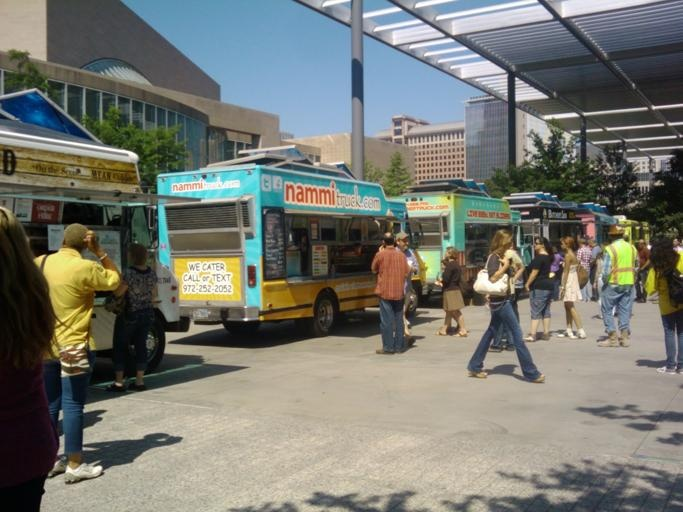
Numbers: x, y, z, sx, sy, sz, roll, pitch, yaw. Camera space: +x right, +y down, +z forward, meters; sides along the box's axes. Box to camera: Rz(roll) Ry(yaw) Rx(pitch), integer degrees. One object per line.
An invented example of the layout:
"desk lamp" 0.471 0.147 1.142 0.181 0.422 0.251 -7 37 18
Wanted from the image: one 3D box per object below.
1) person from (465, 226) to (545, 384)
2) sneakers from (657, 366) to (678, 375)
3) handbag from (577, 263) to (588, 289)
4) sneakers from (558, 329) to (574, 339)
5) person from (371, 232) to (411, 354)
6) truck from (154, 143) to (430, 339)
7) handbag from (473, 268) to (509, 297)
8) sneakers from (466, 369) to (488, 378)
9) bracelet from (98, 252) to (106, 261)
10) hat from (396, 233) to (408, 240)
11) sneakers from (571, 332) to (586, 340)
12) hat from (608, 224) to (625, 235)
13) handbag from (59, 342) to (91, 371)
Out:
"person" 2.377 0.709 9.366 1.037 2.152 1.118 -1 3 0
"sneakers" 4.852 1.698 9.404 0.094 0.090 0.211 -4 9 -29
"handbag" 6.541 0.511 17.103 0.316 0.814 0.751 -7 -3 20
"sneakers" 4.675 1.592 13.171 0.380 0.177 0.173 2 2 32
"person" 0.938 0.664 11.726 0.676 2.135 0.544 0 -3 -10
"truck" -0.555 -0.238 15.222 3.164 3.628 6.837 -1 1 38
"handbag" 2.214 0.390 9.253 0.492 0.385 0.298 0 4 21
"sneakers" 2.022 1.716 9.289 0.222 0.098 0.140 -1 -2 26
"bracelet" -2.435 -0.001 6.409 0.063 0.068 0.049 -2 -33 -4
"hat" 1.193 -0.367 12.629 0.157 0.091 0.226 -9 0 -20
"sneakers" 4.917 1.628 13.028 0.335 0.153 0.121 1 5 42
"hat" 5.155 -0.469 11.786 0.253 0.196 0.410 0 4 22
"handbag" -2.386 0.909 5.660 0.249 0.262 0.118 -3 4 -30
